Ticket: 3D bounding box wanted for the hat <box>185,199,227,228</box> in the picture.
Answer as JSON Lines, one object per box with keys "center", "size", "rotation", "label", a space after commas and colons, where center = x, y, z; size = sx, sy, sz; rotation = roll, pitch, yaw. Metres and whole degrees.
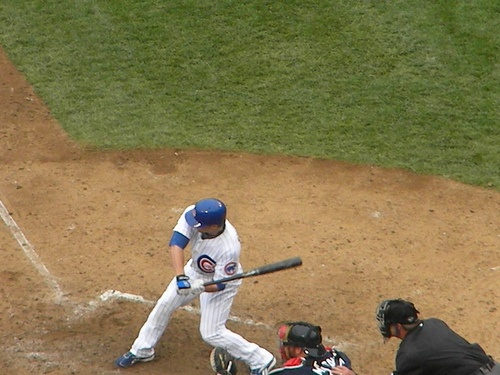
{"center": [-0.728, 0.388, 12.031], "size": [0.716, 0.319, 0.488], "rotation": [-13, 49, -17], "label": "hat"}
